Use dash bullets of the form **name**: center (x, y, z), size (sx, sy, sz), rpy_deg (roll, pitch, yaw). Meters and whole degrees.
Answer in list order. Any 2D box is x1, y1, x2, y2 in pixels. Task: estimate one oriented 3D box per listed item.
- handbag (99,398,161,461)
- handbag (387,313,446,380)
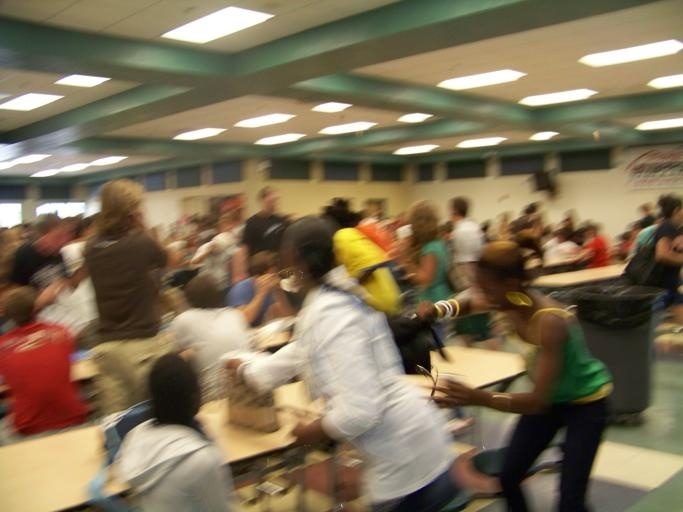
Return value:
- **handbag**: center (-0.834, 0.684, 1.946), size (0.163, 0.198, 0.254), rpy_deg (-5, 7, -24)
- **handbag**: center (0.324, 0.390, 2.226), size (0.191, 0.140, 0.567), rpy_deg (-12, -33, 28)
